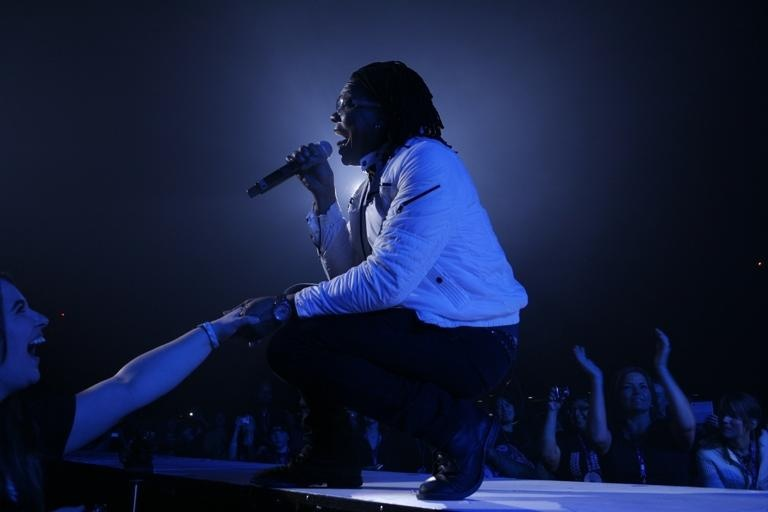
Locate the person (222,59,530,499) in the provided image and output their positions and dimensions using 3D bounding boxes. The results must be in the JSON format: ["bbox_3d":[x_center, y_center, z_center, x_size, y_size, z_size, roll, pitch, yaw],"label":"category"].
[{"bbox_3d":[0.043,0.056,2.657,0.992,1.682,0.456,-2,-12,12],"label":"person"}]

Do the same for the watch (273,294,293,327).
[{"bbox_3d":[-0.383,0.201,2.539,0.075,0.045,0.102,13,-35,-24],"label":"watch"}]

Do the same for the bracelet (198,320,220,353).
[{"bbox_3d":[-0.647,0.295,2.489,0.029,0.102,0.061,-23,5,40],"label":"bracelet"}]
